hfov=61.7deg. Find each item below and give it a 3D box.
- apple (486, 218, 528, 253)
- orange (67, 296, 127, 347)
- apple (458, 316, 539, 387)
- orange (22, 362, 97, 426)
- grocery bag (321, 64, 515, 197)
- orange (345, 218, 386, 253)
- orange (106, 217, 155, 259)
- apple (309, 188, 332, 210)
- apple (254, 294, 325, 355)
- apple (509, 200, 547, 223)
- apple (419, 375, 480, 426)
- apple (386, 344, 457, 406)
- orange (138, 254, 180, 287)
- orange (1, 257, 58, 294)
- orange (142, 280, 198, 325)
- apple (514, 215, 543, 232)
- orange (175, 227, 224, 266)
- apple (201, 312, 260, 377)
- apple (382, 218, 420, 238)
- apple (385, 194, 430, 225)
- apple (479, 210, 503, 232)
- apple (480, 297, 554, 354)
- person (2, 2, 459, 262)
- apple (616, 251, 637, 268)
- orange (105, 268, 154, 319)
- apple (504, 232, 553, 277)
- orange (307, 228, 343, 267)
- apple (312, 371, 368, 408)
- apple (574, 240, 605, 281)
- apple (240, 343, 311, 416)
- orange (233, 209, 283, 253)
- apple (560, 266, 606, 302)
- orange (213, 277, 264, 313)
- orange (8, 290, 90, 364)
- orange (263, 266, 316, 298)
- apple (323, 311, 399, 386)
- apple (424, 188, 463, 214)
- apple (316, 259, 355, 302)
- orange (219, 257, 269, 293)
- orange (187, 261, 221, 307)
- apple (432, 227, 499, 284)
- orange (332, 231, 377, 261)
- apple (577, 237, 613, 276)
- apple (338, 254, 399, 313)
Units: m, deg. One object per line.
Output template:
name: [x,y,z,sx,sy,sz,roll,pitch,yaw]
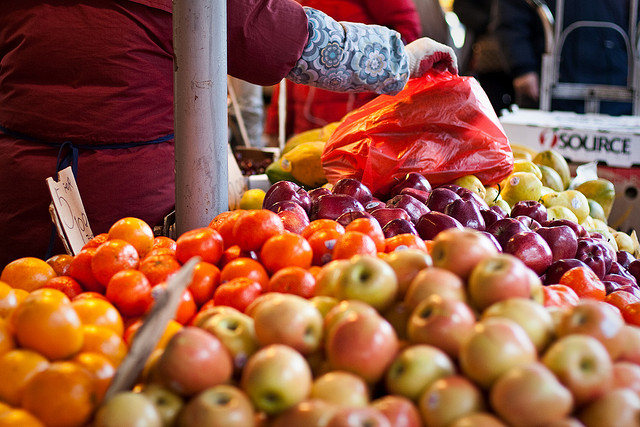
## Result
apple: [0.555,0.055,1.614,0.091,0.098,0.091,-2,11,-33]
orange: [-0.515,0.250,1.215,0.119,0.138,0.130,3,-4,-11]
apple: [0.347,0.308,1.047,0.133,0.165,0.134,-15,-39,33]
orange: [-0.512,0.361,1.081,0.114,0.118,0.119,21,-38,-19]
grocery bag: [0.376,-0.373,2.624,0.751,0.490,1.037,-16,20,-15]
orange: [0.116,0.055,1.367,0.079,0.088,0.083,4,-1,-10]
orange: [-0.520,0.065,1.492,0.087,0.112,0.092,-1,-3,34]
apple: [0.001,-0.052,1.874,0.057,0.073,0.061,0,7,-18]
apple: [-0.078,0.227,1.111,0.113,0.152,0.114,-5,12,-18]
apple: [0.740,-0.019,1.906,0.086,0.089,0.091,0,6,9]
apple: [0.243,0.356,1.053,0.089,0.094,0.102,37,-37,-18]
apple: [0.225,0.327,1.075,0.115,0.125,0.121,-13,-16,18]
orange: [-0.396,0.137,1.332,0.077,0.087,0.081,5,9,12]
orange: [-0.767,0.136,1.416,0.094,0.101,0.099,-12,15,-35]
orange: [-0.347,0.196,1.274,0.128,0.085,0.095,13,19,31]
apple: [0.679,0.031,1.750,0.062,0.071,0.062,-15,27,-40]
orange: [-0.304,0.079,1.365,0.094,0.103,0.099,-1,22,-3]
apple: [-0.172,0.250,1.085,0.103,0.113,0.111,0,6,6]
apple: [0.218,0.040,1.494,0.072,0.058,0.042,26,-4,13]
apple: [0.272,-0.001,1.749,0.092,0.104,0.081,-18,26,-2]
apple: [0.539,0.021,1.726,0.058,0.076,0.063,-5,13,-7]
apple: [0.391,0.199,1.065,0.108,0.141,0.114,-5,-2,3]
person: [-0.657,-0.337,3.009,2.151,1.310,1.058,-4,10,-8]
apple: [1.060,0.154,1.877,0.061,0.037,0.050,23,61,20]
orange: [-0.447,0.187,1.268,0.104,0.137,0.108,-2,3,28]
apple: [0.586,0.111,1.567,0.113,0.127,0.115,-7,-5,-40]
orange: [0.010,0.081,1.364,0.082,0.109,0.088,1,5,8]
apple: [0.044,0.322,1.021,0.080,0.076,0.071,2,-9,-1]
apple: [0.840,0.138,1.723,0.097,0.108,0.104,16,-24,7]
apple: [-0.078,0.290,1.056,0.113,0.128,0.142,-14,8,0]
orange: [-0.163,0.040,1.423,0.109,0.116,0.108,-7,27,-4]
apple: [0.720,0.189,1.461,0.139,0.071,0.094,-5,18,-24]
orange: [-0.200,0.186,1.268,0.130,0.099,0.136,-4,-7,-9]
orange: [-0.545,0.246,1.149,0.113,0.124,0.162,-5,-36,8]
orange: [-0.063,0.132,1.226,0.077,0.095,0.076,13,8,-6]
apple: [0.082,0.277,1.112,0.157,0.174,0.157,3,-25,-16]
apple: [0.409,-0.046,1.767,0.099,0.086,0.087,19,48,-14]
apple: [0.024,0.143,1.195,0.079,0.105,0.083,7,6,25]
orange: [-0.178,0.136,1.286,0.083,0.091,0.087,-7,-8,-11]
orange: [-0.286,0.172,1.345,0.091,0.097,0.094,4,-6,15]
apple: [0.315,0.102,1.201,0.142,0.150,0.151,1,-7,21]
orange: [0.081,0.075,1.279,0.076,0.080,0.076,16,25,19]
apple: [0.867,0.153,1.762,0.104,0.117,0.114,-1,-35,3]
apple: [0.120,0.157,1.186,0.129,0.155,0.139,-4,-2,28]
